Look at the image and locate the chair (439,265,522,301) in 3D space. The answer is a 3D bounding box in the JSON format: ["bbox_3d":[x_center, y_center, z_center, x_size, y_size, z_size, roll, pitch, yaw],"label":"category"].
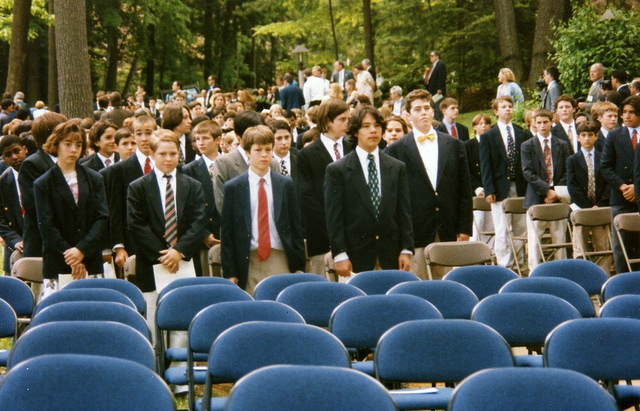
[{"bbox_3d":[2.359,1.065,14.750,0.668,0.671,0.903,1,-8,0],"label":"chair"}]

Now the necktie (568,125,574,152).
[{"bbox_3d":[4.763,-1.316,18.708,0.104,0.464,0.163,-2,0,14],"label":"necktie"}]

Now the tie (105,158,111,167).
[{"bbox_3d":[-3.607,-0.743,16.665,0.128,0.192,0.052,0,-4,-5],"label":"tie"}]

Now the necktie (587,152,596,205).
[{"bbox_3d":[4.897,-0.499,17.799,0.151,0.936,0.152,-2,0,9],"label":"necktie"}]

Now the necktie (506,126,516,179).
[{"bbox_3d":[3.590,-1.019,18.575,0.152,0.989,0.138,-2,0,8],"label":"necktie"}]

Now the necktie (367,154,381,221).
[{"bbox_3d":[0.811,-0.307,14.979,0.189,0.994,0.090,-2,0,3],"label":"necktie"}]

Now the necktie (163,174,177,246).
[{"bbox_3d":[-2.266,0.092,14.979,0.252,1.495,0.133,-1,33,-7],"label":"necktie"}]

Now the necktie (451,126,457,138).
[{"bbox_3d":[2.681,-1.478,19.760,0.070,0.346,0.095,-12,-34,8],"label":"necktie"}]

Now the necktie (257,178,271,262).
[{"bbox_3d":[-0.873,0.205,14.979,0.198,1.258,0.122,-2,0,-4],"label":"necktie"}]

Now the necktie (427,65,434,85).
[{"bbox_3d":[3.027,-3.678,27.116,0.114,0.504,0.138,4,-21,44],"label":"necktie"}]

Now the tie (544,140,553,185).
[{"bbox_3d":[4.201,-0.823,18.156,0.192,0.806,0.076,-2,0,-38],"label":"tie"}]

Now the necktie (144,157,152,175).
[{"bbox_3d":[-2.761,-0.647,15.701,0.103,0.278,0.174,-2,0,-8],"label":"necktie"}]

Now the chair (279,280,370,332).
[{"bbox_3d":[-0.012,1.338,14.033,0.752,0.937,1.013,1,2,-6],"label":"chair"}]

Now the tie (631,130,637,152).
[{"bbox_3d":[5.435,-1.144,17.043,0.115,0.355,0.068,-2,0,-35],"label":"tie"}]

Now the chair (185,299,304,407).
[{"bbox_3d":[-1.225,2.060,13.750,1.364,2.172,1.545,2,-4,-10],"label":"chair"}]

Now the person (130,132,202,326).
[{"bbox_3d":[-2.430,0.506,15.426,1.099,3.750,1.052,-8,40,-19],"label":"person"}]

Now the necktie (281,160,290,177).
[{"bbox_3d":[-0.595,-0.634,16.431,0.122,0.273,0.267,-2,0,-2],"label":"necktie"}]

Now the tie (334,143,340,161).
[{"bbox_3d":[0.260,-0.867,15.834,0.059,0.282,0.063,-7,-9,-7],"label":"tie"}]

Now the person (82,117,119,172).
[{"bbox_3d":[-3.687,-1.015,16.818,0.907,0.842,0.561,-2,1,-35],"label":"person"}]
